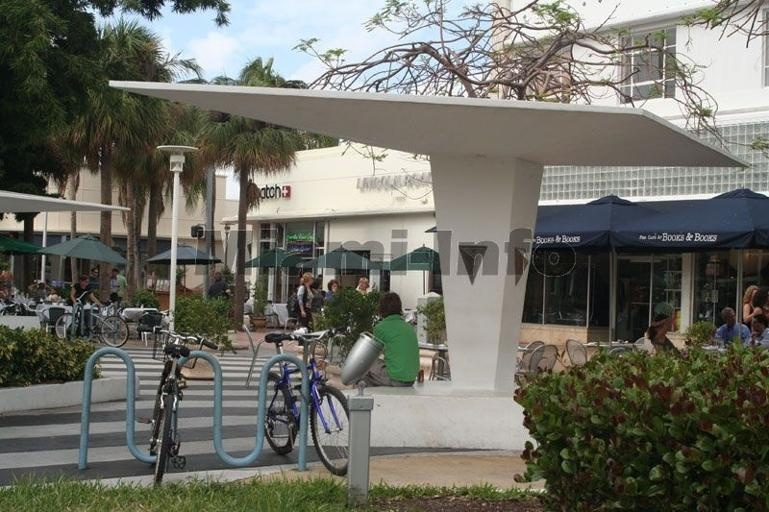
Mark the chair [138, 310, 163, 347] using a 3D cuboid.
[{"bbox_3d":[-5.486,1.692,21.796,0.583,0.811,0.591,2,6,-6],"label":"chair"}]

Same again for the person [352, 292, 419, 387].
[{"bbox_3d":[0.131,1.265,14.271,0.830,1.469,0.841,3,-4,-2],"label":"person"}]

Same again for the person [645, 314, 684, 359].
[{"bbox_3d":[5.662,1.606,18.839,0.518,0.784,1.094,0,-26,26],"label":"person"}]

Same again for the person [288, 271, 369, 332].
[{"bbox_3d":[-0.993,1.199,20.815,1.377,1.203,1.719,4,0,-3],"label":"person"}]

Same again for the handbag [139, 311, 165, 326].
[{"bbox_3d":[-5.422,1.450,21.895,0.646,0.403,1.070,1,-3,-8],"label":"handbag"}]

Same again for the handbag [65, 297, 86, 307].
[{"bbox_3d":[-8.646,1.258,26.156,0.547,0.379,0.351,3,-2,3],"label":"handbag"}]

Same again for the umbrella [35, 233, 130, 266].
[{"bbox_3d":[-8.783,-0.311,27.111,2.134,0.773,2.223,4,-5,-23],"label":"umbrella"}]

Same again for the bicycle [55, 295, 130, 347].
[{"bbox_3d":[-7.873,1.744,25.162,1.964,1.277,0.985,3,2,1],"label":"bicycle"}]

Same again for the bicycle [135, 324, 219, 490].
[{"bbox_3d":[-2.820,1.952,12.536,0.684,1.947,1.495,3,-4,-11],"label":"bicycle"}]
